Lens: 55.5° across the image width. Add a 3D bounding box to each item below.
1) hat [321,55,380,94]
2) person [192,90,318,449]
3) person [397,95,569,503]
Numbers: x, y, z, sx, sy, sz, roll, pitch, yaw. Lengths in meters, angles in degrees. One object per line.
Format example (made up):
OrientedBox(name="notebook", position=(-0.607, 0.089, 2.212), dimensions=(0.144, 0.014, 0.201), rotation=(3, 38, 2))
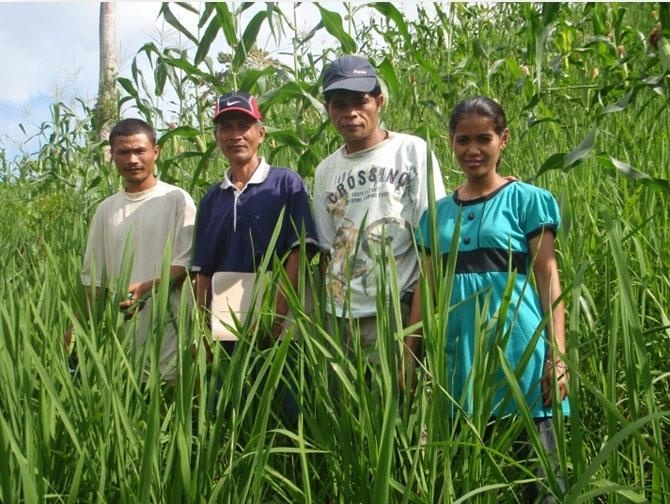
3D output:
OrientedBox(name="hat", position=(0.073, -0.874, 3.129), dimensions=(0.261, 0.210, 0.385), rotation=(-6, 10, 11))
OrientedBox(name="person", position=(-0.429, 0.001, 3.223), dimensions=(0.781, 1.711, 0.482), rotation=(-8, -5, 37))
OrientedBox(name="person", position=(0.609, 0.151, 2.478), dimensions=(0.572, 1.717, 0.917), rotation=(-5, -5, 16))
